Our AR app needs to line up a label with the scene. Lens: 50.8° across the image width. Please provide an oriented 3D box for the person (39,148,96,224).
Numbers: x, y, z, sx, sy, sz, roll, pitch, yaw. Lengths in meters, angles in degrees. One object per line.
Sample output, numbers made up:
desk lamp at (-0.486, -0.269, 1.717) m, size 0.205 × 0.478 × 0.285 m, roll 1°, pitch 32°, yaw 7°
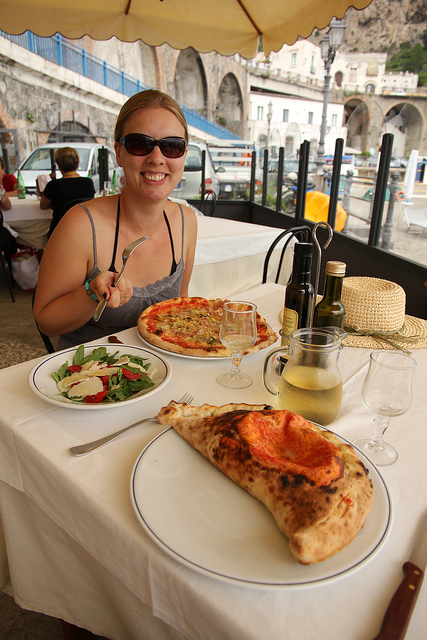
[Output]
person at (-1.498, -1.316, 4.602) m, size 0.564 × 0.827 × 0.462 m, roll -8°, pitch 25°, yaw -36°

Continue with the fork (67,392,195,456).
fork at (-0.162, 0.195, 0.830) m, size 0.030 × 0.025 × 0.229 m, roll 29°, pitch 29°, yaw 29°

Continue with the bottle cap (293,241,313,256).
bottle cap at (0.205, -0.163, 1.022) m, size 0.034 × 0.020 × 0.034 m, roll 18°, pitch 17°, yaw 31°

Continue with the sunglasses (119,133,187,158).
sunglasses at (-0.201, -0.602, 1.559) m, size 0.223 × 0.078 × 0.089 m, roll -3°, pitch 15°, yaw -11°

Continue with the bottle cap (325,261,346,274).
bottle cap at (0.298, -0.131, 1.084) m, size 0.035 × 0.020 × 0.035 m, roll 4°, pitch 22°, yaw 4°

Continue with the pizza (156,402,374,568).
pizza at (0.101, 0.191, 0.719) m, size 0.238 × 0.101 × 0.393 m, roll -9°, pitch 16°, yaw -30°

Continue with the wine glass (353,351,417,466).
wine glass at (0.324, 0.173, 0.839) m, size 0.107 × 0.219 × 0.111 m, roll 2°, pitch 25°, yaw -4°
